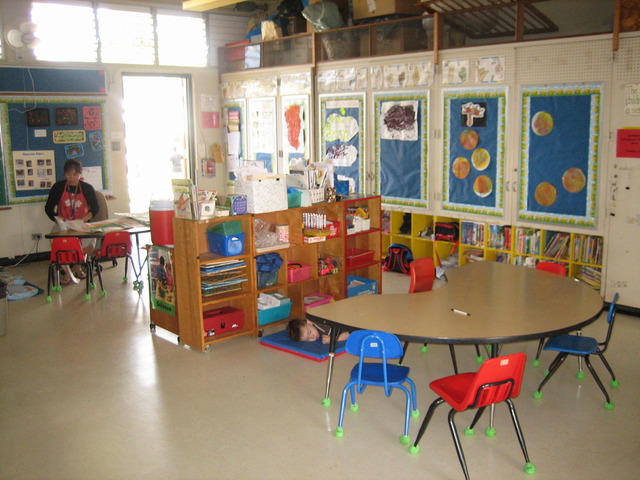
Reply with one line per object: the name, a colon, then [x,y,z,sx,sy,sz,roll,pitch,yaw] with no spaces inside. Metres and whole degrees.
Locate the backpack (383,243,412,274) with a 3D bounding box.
backpack: [1.265,0.332,8.244,0.441,0.467,0.463,8,21,32]

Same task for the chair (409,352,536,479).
chair: [1.193,1.422,3.931,0.634,0.906,0.734,-9,20,-23]

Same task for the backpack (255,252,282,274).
backpack: [-0.611,0.283,5.882,0.233,0.098,0.230,-5,11,-22]

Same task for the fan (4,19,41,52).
fan: [-5.000,-3.383,8.413,0.490,0.422,0.254,-7,15,-29]

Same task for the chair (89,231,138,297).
chair: [-3.181,0.396,7.662,0.610,0.962,0.665,-8,31,-28]

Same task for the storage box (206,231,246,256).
storage box: [-1.042,0.050,5.609,0.245,0.192,0.348,-5,5,-42]

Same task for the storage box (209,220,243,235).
storage box: [-1.075,-0.147,5.619,0.185,0.099,0.249,-9,12,-41]

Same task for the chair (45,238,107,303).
chair: [-3.611,0.485,7.412,0.720,0.996,0.719,1,19,-5]

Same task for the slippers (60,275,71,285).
slippers: [-3.959,0.642,7.813,0.277,0.109,0.094,9,9,18]

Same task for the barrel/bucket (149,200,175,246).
barrel/bucket: [-1.820,-0.187,5.764,0.302,0.515,0.163,8,16,30]

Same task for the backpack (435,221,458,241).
backpack: [1.987,-0.128,7.925,0.444,0.367,0.262,4,6,43]

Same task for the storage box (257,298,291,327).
storage box: [-0.557,0.882,6.024,0.243,0.156,0.379,3,6,43]

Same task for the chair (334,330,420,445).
chair: [0.501,1.081,4.203,0.669,0.945,0.785,3,14,12]
